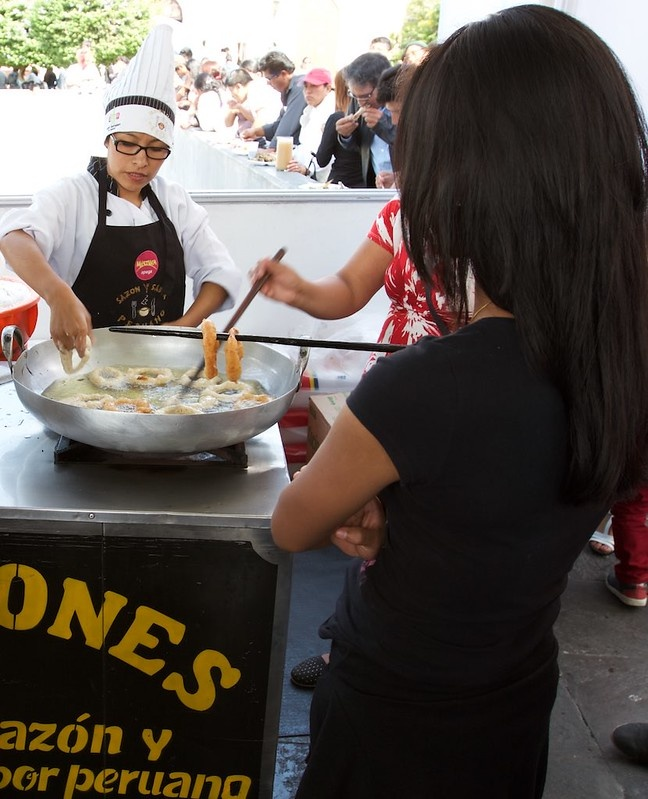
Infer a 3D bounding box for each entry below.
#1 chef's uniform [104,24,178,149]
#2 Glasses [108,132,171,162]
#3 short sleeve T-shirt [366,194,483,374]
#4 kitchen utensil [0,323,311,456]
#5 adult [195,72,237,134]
[{"bbox_3d":[-0.518,-0.897,1.835,0.183,0.316,0.266,0,27,-15],"label":"chef's uniform"},{"bbox_3d":[-0.521,-0.714,1.844,0.168,0.066,0.091,-1,27,-16],"label":"Glasses"},{"bbox_3d":[0.282,-0.273,1.809,0.311,0.357,0.136,17,48,12],"label":"short sleeve T-shirt"},{"bbox_3d":[-0.284,0.012,1.199,0.478,0.115,0.459,10,18,22],"label":"kitchen utensil"},{"bbox_3d":[-1.024,-2.895,6.337,0.350,0.582,0.301,16,38,-3],"label":"adult"}]
